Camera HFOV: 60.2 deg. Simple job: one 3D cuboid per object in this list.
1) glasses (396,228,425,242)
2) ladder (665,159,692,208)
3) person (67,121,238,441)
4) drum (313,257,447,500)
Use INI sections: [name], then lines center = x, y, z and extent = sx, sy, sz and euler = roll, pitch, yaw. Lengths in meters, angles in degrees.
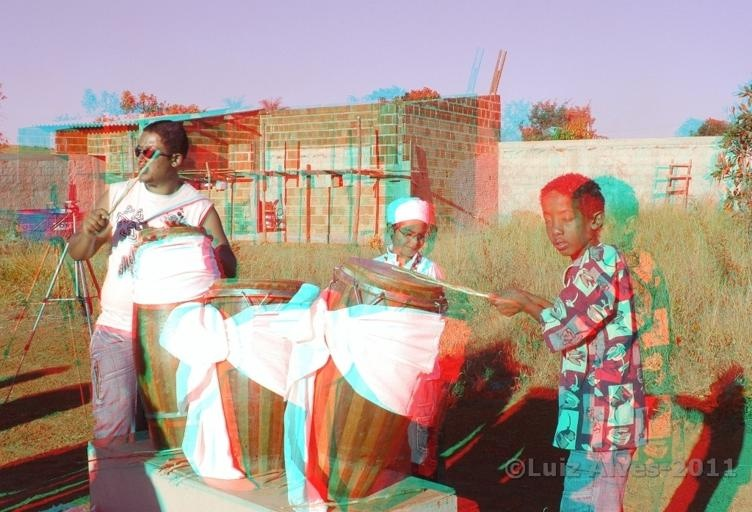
[glasses]
center = 0.226, -0.136, 4.189
extent = 0.089, 0.042, 0.105
euler = 21, 1, -31
[ladder]
center = 3.848, -0.943, 8.266
extent = 0.289, 0.627, 1.138
euler = 1, 1, 26
[person]
center = -1.301, 0.288, 3.770
extent = 0.875, 2.014, 0.560
euler = -1, 16, -23
[drum]
center = -0.002, 0.560, 2.783
extent = 0.579, 1.044, 0.281
euler = 0, 1, -7
